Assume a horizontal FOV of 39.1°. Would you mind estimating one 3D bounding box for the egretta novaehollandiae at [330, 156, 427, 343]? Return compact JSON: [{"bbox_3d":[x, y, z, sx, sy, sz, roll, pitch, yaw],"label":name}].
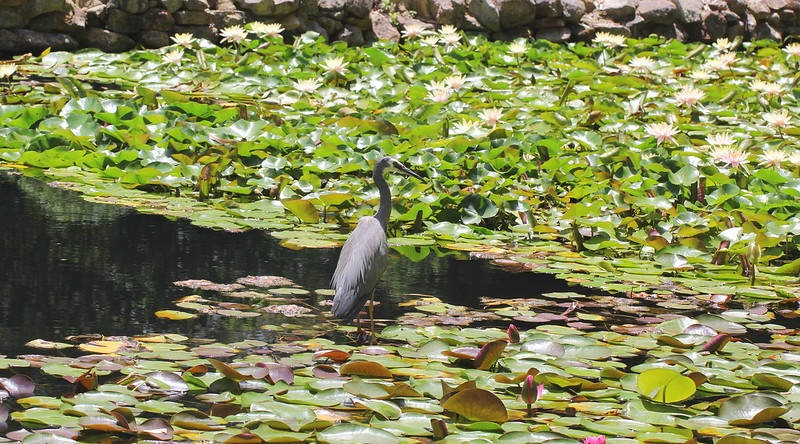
[{"bbox_3d":[-0.323,0.201,9.867,0.487,1.209,0.764,4,-1,0],"label":"egretta novaehollandiae"}]
